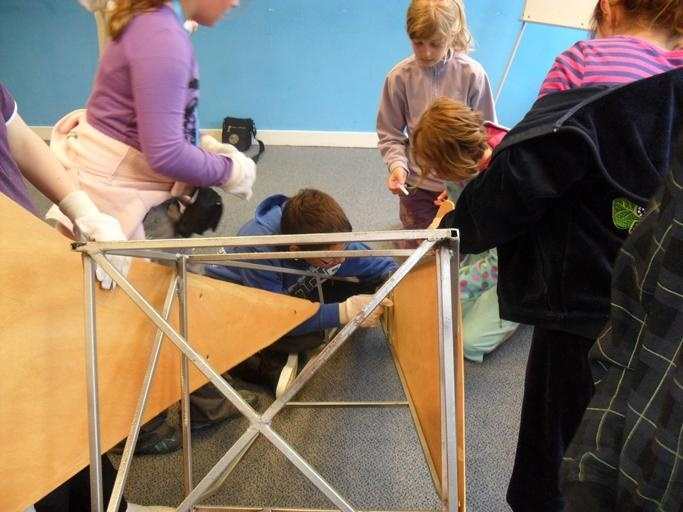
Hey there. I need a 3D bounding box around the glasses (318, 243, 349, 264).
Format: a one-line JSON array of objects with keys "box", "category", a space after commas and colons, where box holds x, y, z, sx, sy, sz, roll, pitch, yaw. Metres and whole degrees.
[{"box": [-0.023, -0.009, 1.876, 0.066, 0.030, 0.074, 8, 51, 10], "category": "glasses"}]

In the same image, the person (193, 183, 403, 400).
[{"box": [-0.123, 0.067, 2.049, 0.619, 0.631, 0.713, -11, 3, 8], "category": "person"}]

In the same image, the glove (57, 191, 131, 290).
[{"box": [-0.674, -0.041, 1.496, 0.065, 0.248, 0.136, -17, 40, -16], "category": "glove"}]

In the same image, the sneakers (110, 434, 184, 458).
[{"box": [-0.579, 0.575, 1.746, 0.155, 0.043, 0.101, -6, 6, -5], "category": "sneakers"}]

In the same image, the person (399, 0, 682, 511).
[{"box": [0.520, -0.005, 1.449, 0.427, 1.162, 0.428, -15, 26, -34], "category": "person"}]

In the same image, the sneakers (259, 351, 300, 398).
[{"box": [-0.196, 0.395, 1.937, 0.134, 0.115, 0.148, -3, 23, -7], "category": "sneakers"}]
